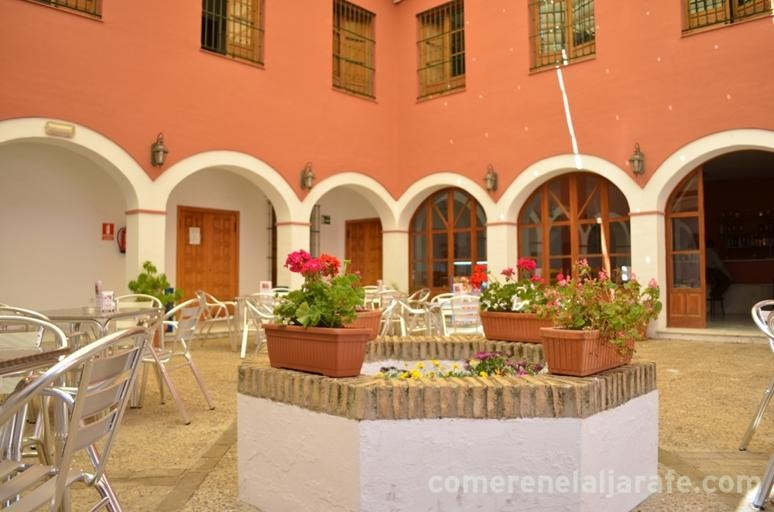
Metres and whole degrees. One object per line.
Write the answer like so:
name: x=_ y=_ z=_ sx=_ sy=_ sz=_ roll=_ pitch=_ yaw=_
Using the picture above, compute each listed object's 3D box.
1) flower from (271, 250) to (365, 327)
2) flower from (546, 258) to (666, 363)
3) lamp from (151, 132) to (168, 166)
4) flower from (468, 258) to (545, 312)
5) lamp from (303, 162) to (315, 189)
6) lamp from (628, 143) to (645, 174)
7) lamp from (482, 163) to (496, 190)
flower: x=-0.531 y=0.328 z=5.213 sx=0.587 sy=0.649 sz=0.625 roll=1 pitch=-8 yaw=3
flower: x=1.753 y=0.318 z=5.253 sx=0.805 sy=0.702 sz=0.917 roll=1 pitch=-3 yaw=38
lamp: x=-3.717 y=-1.712 z=10.465 sx=0.263 sy=0.510 sz=0.241 roll=-3 pitch=7 yaw=-21
flower: x=1.478 y=0.347 z=7.923 sx=0.586 sy=0.509 sz=0.701 roll=3 pitch=-7 yaw=-29
lamp: x=-1.466 y=-1.518 z=12.340 sx=0.204 sy=0.503 sz=0.341 roll=2 pitch=7 yaw=21
lamp: x=4.257 y=-1.630 z=10.910 sx=0.237 sy=0.533 sz=0.195 roll=4 pitch=8 yaw=33
lamp: x=2.008 y=-1.494 z=12.427 sx=0.264 sy=0.496 sz=0.177 roll=3 pitch=7 yaw=23
